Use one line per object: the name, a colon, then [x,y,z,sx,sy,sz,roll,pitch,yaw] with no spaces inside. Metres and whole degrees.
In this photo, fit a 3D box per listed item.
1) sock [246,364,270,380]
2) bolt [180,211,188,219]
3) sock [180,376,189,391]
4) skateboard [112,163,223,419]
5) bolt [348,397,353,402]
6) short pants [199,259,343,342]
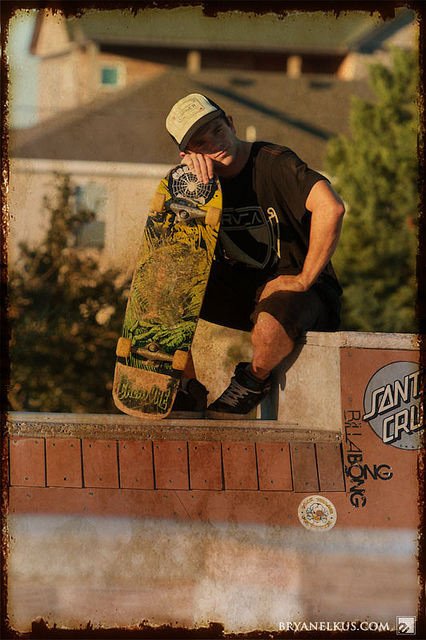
sock: [0.226,0.272,5.109,0.122,0.065,0.063,6,6,-1]
bolt: [-0.146,-0.516,4.866,0.036,0.036,0.009,1,-2,4]
sock: [-0.158,0.341,5.256,0.029,0.096,0.015,2,11,9]
skateboard: [-0.228,-0.150,4.924,0.402,1.262,0.366,8,7,1]
bolt: [0.645,0.378,4.662,0.021,0.021,0.008,5,7,-18]
short pants: [0.501,-0.103,5.376,0.458,0.202,0.788,14,-6,16]
